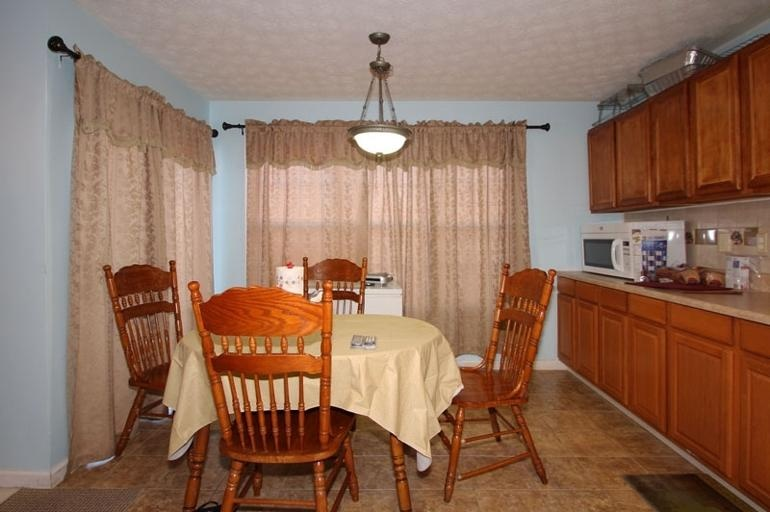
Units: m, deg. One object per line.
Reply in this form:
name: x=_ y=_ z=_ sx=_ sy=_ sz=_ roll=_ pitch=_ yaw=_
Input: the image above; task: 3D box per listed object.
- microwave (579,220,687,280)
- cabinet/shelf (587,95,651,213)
microwave: x=2.089 y=-0.055 z=5.012 sx=0.433 sy=0.487 sz=0.856 roll=-5 pitch=4 yaw=-36
cabinet/shelf: x=2.125 y=-0.906 z=5.167 sx=0.422 sy=1.039 sz=1.167 roll=-2 pitch=1 yaw=1
